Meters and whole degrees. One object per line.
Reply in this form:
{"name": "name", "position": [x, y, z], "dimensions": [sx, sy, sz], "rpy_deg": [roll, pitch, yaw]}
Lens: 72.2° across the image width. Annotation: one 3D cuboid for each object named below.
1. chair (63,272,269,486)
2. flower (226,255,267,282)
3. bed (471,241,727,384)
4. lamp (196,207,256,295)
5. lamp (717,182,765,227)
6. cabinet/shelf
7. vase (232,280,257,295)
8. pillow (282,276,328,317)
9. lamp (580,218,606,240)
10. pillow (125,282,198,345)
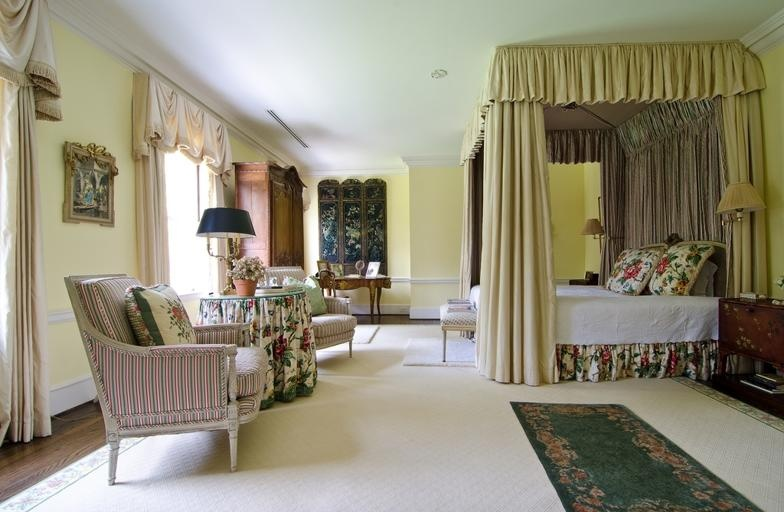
{"name": "chair", "position": [-1.797, 1.002, 4.900], "dimensions": [1.542, 1.655, 1.367], "rpy_deg": [-3, -1, -9]}
{"name": "flower", "position": [-1.516, 0.117, 5.499], "dimensions": [0.281, 0.147, 0.268], "rpy_deg": [2, 1, 36]}
{"name": "bed", "position": [2.618, 0.686, 6.012], "dimensions": [1.541, 0.984, 1.607], "rpy_deg": [0, -2, 7]}
{"name": "lamp", "position": [-1.734, -0.042, 5.665], "dimensions": [0.604, 0.872, 0.620], "rpy_deg": [1, -9, -31]}
{"name": "lamp", "position": [3.553, -0.521, 5.644], "dimensions": [0.435, 0.459, 0.452], "rpy_deg": [-1, -4, -5]}
{"name": "cabinet/shelf", "position": [-1.739, -0.542, 7.448], "dimensions": [0.453, 1.846, 1.688], "rpy_deg": [-3, -2, 2]}
{"name": "vase", "position": [-1.496, 0.329, 5.460], "dimensions": [0.167, 0.123, 0.171], "rpy_deg": [-4, -4, 40]}
{"name": "pillow", "position": [-0.999, 0.458, 6.040], "dimensions": [0.216, 0.413, 0.420], "rpy_deg": [-13, -8, 34]}
{"name": "lamp", "position": [2.919, -0.385, 7.813], "dimensions": [0.343, 0.341, 0.346], "rpy_deg": [-1, -8, 3]}
{"name": "pillow", "position": [-1.979, 0.562, 4.701], "dimensions": [0.326, 0.643, 0.687], "rpy_deg": [-6, 3, 4]}
